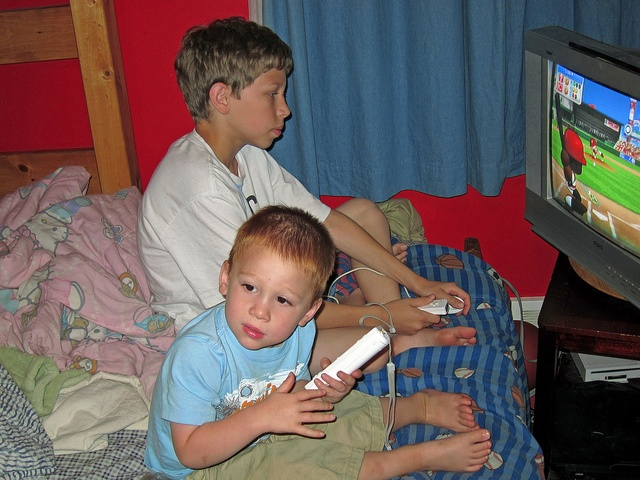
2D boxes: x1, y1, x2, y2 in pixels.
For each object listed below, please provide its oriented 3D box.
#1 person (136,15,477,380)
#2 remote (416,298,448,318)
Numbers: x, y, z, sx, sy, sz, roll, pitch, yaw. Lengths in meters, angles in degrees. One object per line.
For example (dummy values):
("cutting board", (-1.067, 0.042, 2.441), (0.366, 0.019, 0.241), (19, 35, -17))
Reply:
("person", (-0.071, -0.379, 2.125), (1.315, 1.404, 0.841), (-5, 29, 3))
("remote", (0.379, 0.222, 1.798), (0.069, 0.022, 0.053), (-1, 28, 14))
